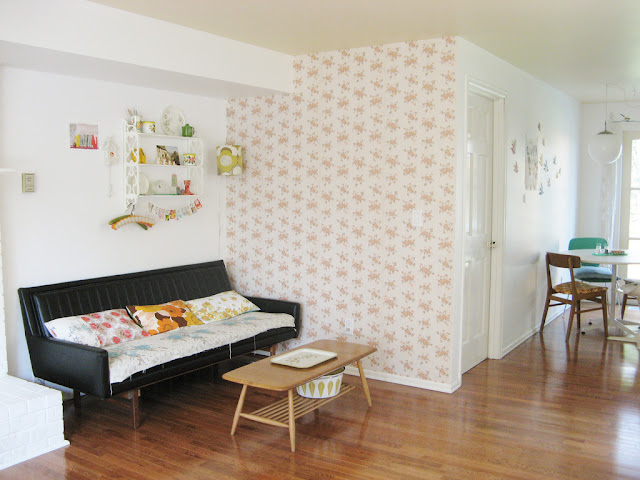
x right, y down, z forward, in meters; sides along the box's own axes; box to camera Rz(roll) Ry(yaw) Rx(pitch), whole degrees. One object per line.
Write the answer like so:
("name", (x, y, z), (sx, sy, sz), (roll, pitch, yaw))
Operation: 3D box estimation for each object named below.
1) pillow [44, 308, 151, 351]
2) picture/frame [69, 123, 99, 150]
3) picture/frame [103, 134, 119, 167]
("pillow", (-1.875, 0.755, 4.185), (0.408, 0.238, 0.722), (6, 10, 41))
("picture/frame", (-2.146, -0.934, 4.448), (0.026, 0.241, 0.253), (8, 10, 43))
("picture/frame", (-1.960, -0.835, 4.631), (0.055, 0.280, 0.156), (5, 10, 33))
